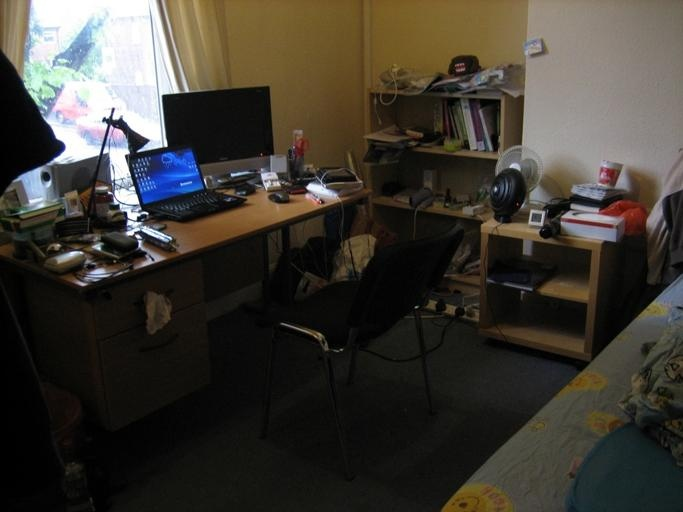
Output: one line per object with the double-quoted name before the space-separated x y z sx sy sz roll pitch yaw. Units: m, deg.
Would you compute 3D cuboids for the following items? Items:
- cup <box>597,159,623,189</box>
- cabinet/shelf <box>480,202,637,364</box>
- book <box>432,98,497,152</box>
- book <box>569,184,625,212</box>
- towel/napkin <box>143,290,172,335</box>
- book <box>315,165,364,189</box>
"cup" 1.444 -0.440 2.962 0.128 0.157 0.133 6 7 -1
"cabinet/shelf" 1.282 0.088 3.231 0.731 0.842 0.793 8 17 30
"book" 0.838 -0.876 3.686 0.299 0.325 0.179 12 29 33
"book" 1.375 -0.343 2.966 0.152 0.074 0.205 13 21 40
"towel/napkin" -0.787 0.222 2.360 0.135 0.162 0.088 -15 26 -30
"book" -0.014 -0.442 3.125 0.171 0.067 0.180 0 21 -17
